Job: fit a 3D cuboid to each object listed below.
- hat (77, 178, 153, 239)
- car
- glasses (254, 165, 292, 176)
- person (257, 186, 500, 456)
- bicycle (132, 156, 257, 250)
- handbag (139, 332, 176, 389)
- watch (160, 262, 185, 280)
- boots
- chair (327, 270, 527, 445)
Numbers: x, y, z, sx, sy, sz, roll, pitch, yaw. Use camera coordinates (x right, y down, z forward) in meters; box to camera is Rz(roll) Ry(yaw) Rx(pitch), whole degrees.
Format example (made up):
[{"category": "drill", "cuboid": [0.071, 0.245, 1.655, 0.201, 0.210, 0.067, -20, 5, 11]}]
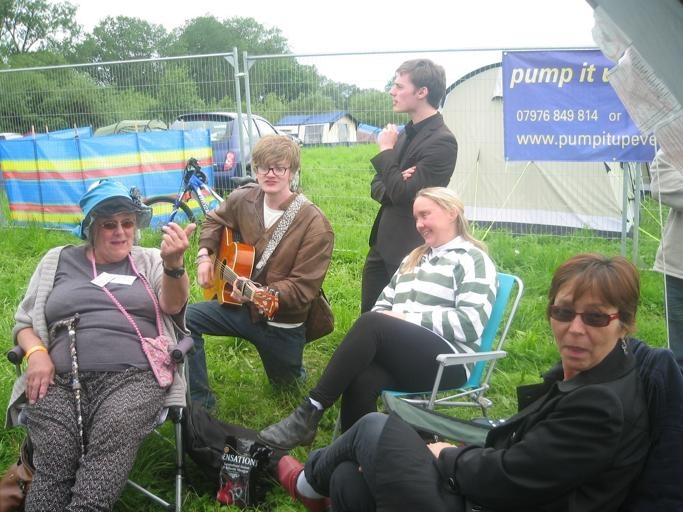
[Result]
[{"category": "hat", "cuboid": [-1.373, -0.262, 3.301, 0.336, 0.247, 0.430, -10, -1, -8]}, {"category": "car", "cuboid": [-1.380, -1.538, 7.979, 1.109, 1.035, 1.956, 2, 23, 25]}, {"category": "glasses", "cuboid": [-0.513, -0.619, 4.027, 0.240, 0.075, 0.074, 2, 8, -7]}, {"category": "person", "cuboid": [0.192, 0.459, 3.620, 1.541, 2.181, 0.958, 14, -27, -19]}, {"category": "bicycle", "cuboid": [-2.125, -0.792, 8.001, 1.934, 1.270, 0.981, 0, 23, 1]}, {"category": "handbag", "cuboid": [-1.043, 0.598, 3.139, 0.095, 0.274, 0.205, -20, -14, 28]}, {"category": "watch", "cuboid": [-0.966, 0.095, 3.157, 0.092, 0.102, 0.094, -7, 13, -16]}, {"category": "boots", "cuboid": [-0.306, 0.987, 3.293, 0.397, 0.303, 0.160, 14, 1, -35]}, {"category": "chair", "cuboid": [0.667, 0.670, 3.863, 1.307, 1.398, 0.940, 5, -7, -22]}]
